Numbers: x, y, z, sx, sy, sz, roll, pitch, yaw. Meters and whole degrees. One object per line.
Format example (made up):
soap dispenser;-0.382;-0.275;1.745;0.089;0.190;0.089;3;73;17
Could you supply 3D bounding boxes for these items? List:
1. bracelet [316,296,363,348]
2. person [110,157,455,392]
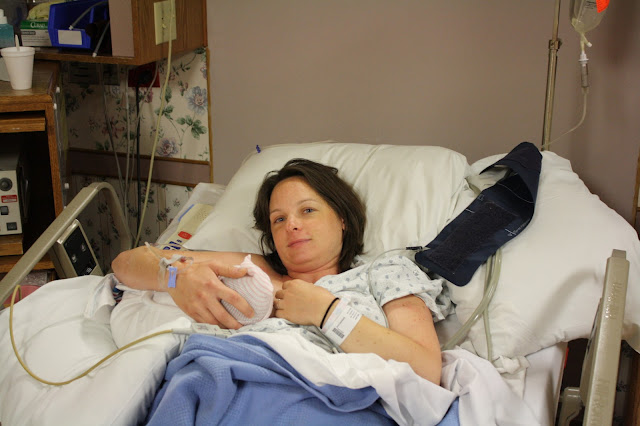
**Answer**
bracelet;0.063;0.362;1.630;0.122;0.162;0.059;41;0;18
person;-0.086;0.228;1.814;0.588;0.392;1.031;-22;11;4
